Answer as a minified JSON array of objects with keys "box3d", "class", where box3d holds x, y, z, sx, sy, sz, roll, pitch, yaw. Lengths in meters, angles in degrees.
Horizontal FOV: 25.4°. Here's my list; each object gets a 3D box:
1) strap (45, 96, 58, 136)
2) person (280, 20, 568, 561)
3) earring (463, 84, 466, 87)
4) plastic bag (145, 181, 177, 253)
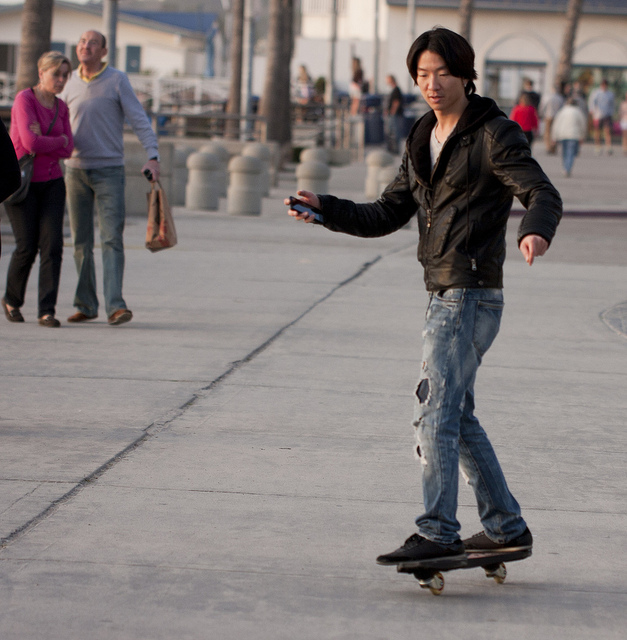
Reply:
[{"box3d":[-1.730,-1.351,9.289,0.040,0.319,0.041,18,-27,-3],"class":"strap"},{"box3d":[0.470,-0.096,5.297,0.877,2.030,0.820,2,9,3],"class":"person"},{"box3d":[0.558,-0.866,5.120,0.013,0.013,0.013,0,-5,4],"class":"earring"},{"box3d":[-1.058,-0.693,9.658,0.192,0.500,0.192,-6,17,-11],"class":"plastic bag"}]
